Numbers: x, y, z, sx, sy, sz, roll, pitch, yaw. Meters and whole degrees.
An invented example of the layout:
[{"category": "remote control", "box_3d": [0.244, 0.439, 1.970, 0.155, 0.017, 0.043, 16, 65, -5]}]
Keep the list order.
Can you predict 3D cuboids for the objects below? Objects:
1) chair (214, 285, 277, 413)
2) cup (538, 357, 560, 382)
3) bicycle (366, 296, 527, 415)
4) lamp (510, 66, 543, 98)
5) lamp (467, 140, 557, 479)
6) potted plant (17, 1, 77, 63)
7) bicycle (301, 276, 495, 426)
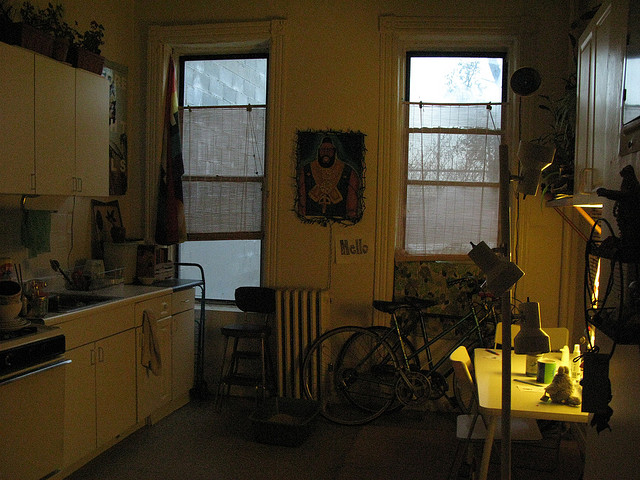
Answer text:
[{"category": "chair", "box_3d": [-0.626, 0.908, 4.746, 0.482, 1.004, 0.469, 0, 6, -27]}, {"category": "cup", "box_3d": [1.385, 0.774, 3.312, 0.098, 0.156, 0.157, 3, -2, -26]}, {"category": "bicycle", "box_3d": [0.900, 0.932, 4.660, 1.383, 1.012, 0.748, -3, -3, 7]}, {"category": "lamp", "box_3d": [1.324, -1.024, 3.548, 0.172, 0.169, 0.082, 5, 10, 28]}, {"category": "lamp", "box_3d": [0.916, 0.349, 2.665, 0.383, 1.634, 0.524, 4, 9, 24]}, {"category": "potted plant", "box_3d": [-1.938, -1.511, 3.876, 0.349, 0.499, 0.673, -5, 10, -28]}, {"category": "bicycle", "box_3d": [0.849, 0.921, 4.528, 1.851, 1.310, 0.906, 2, 16, 9]}]
